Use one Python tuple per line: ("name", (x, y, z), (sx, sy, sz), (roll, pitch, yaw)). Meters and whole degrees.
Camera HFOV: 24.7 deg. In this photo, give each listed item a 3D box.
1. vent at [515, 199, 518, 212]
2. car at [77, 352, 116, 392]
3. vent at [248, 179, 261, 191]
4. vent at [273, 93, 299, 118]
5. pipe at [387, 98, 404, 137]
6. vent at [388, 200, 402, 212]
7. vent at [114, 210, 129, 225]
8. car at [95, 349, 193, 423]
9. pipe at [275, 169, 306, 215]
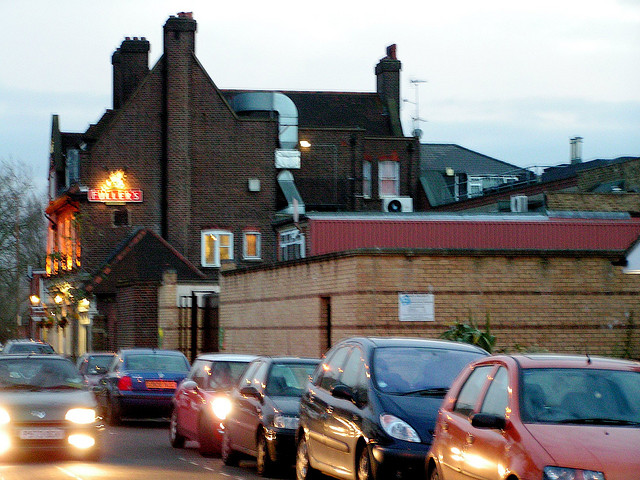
("vent", (7.399, -1.229, 54.150), (0.109, 0.446, 0.354), (-3, -4, 8))
("car", (-5.807, 3.449, 38.130), (0.978, 0.711, 1.595), (0, 3, -11))
("vent", (-2.672, -2.195, 60.681), (0.516, 0.419, 0.460), (3, -5, -6))
("vent", (-1.467, -5.661, 62.521), (0.989, 1.214, 0.937), (-2, -4, -2))
("pipe", (3.600, -5.649, 68.082), (0.618, 1.988, 1.650), (-2, -4, 2))
("vent", (3.323, -1.403, 62.541), (0.635, 0.517, 0.570), (7, -5, -4))
("vent", (-8.118, -0.821, 59.388), (0.647, 0.515, 0.314), (6, -17, -20))
("car", (-4.233, 3.440, 34.662), (1.614, 1.055, 2.672), (1, 0, -12))
("pipe", (-1.232, -1.916, 61.525), (1.331, 1.986, 1.623), (-1, 2, -2))
